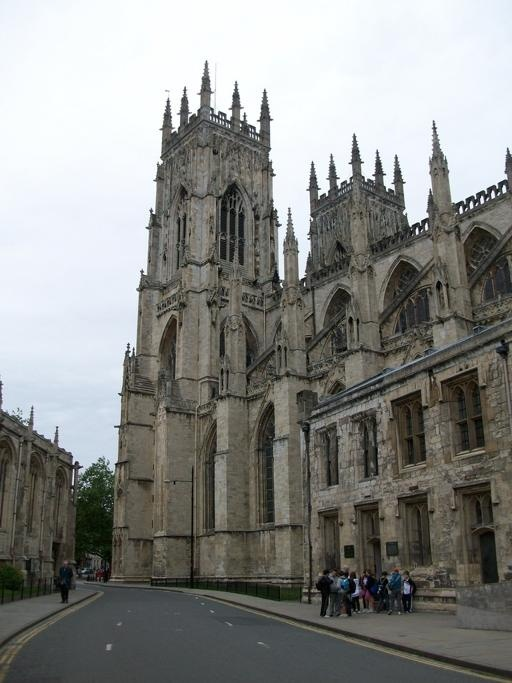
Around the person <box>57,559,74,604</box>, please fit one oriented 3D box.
[{"bbox_3d":[-7.162,9.009,26.274,0.453,1.489,0.471,-3,-16,0],"label":"person"}]
